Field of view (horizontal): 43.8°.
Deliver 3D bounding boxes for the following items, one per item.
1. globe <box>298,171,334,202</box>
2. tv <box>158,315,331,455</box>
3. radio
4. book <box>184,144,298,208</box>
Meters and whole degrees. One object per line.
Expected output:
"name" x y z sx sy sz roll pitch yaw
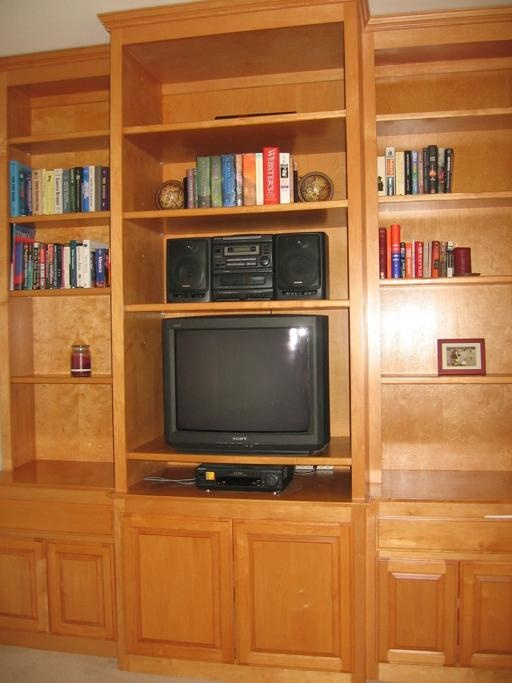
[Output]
"globe" 0.202 -0.548 2.244 0.123 0.113 0.122 1 9 13
"tv" -0.010 0.172 2.429 0.679 0.522 0.352 0 1 19
"radio" -0.024 -0.276 2.369 0.610 0.260 0.179 2 5 15
"book" -0.069 -0.588 2.290 0.386 0.198 0.067 1 9 17
